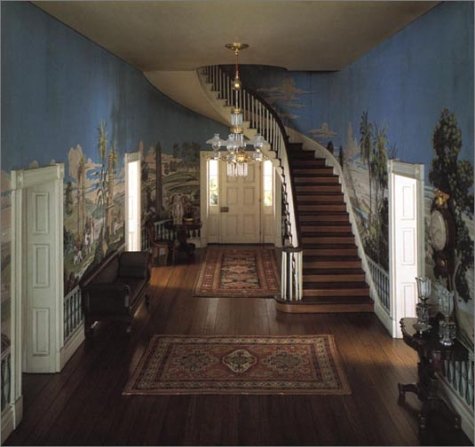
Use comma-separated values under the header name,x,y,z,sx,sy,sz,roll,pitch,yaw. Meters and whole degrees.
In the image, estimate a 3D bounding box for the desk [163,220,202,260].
name,x,y,z,sx,sy,sz,roll,pitch,yaw
desk,-1.772,0.431,11.069,0.981,1.279,1.004,15,9,41

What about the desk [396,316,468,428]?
name,x,y,z,sx,sy,sz,roll,pitch,yaw
desk,1.999,1.526,3.699,0.569,0.853,0.938,1,4,21

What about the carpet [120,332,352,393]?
name,x,y,z,sx,sy,sz,roll,pitch,yaw
carpet,0.017,1.844,4.747,2.737,0.036,1.643,0,4,0

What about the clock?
name,x,y,z,sx,sy,sz,roll,pitch,yaw
clock,2.201,0.079,3.784,0.183,0.922,0.490,1,4,20
